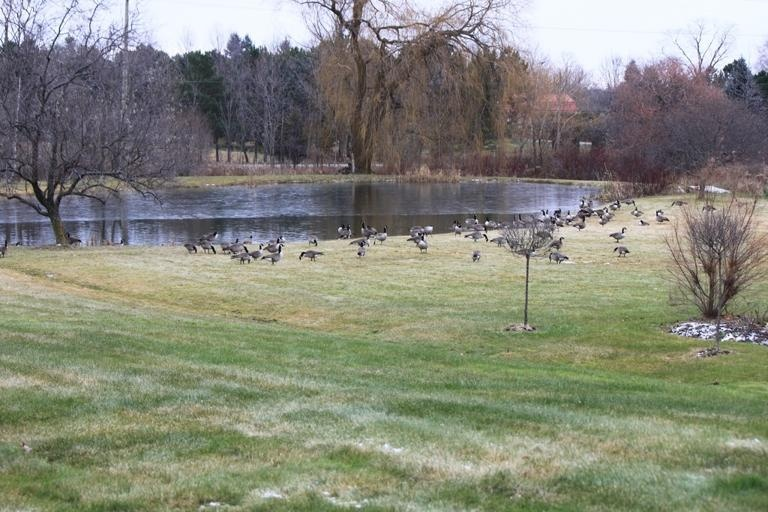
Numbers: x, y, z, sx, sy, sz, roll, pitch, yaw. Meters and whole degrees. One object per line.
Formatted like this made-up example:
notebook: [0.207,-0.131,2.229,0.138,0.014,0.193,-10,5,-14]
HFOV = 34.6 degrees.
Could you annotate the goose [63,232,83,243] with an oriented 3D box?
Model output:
goose: [-17.227,-0.881,68.374,0.956,0.648,0.687,19,9,14]
